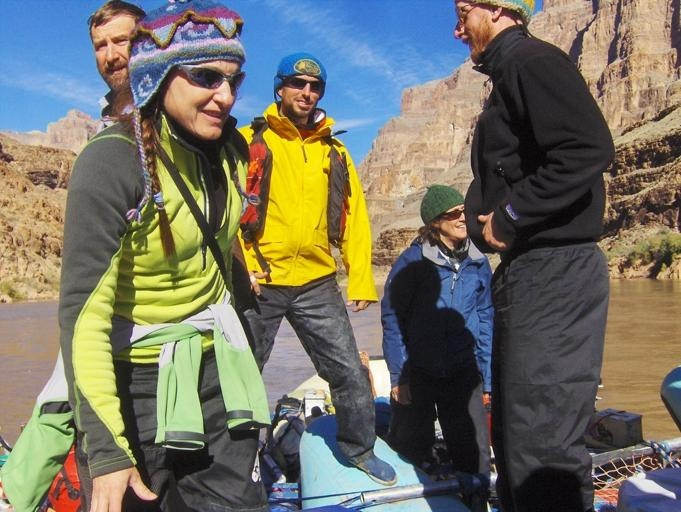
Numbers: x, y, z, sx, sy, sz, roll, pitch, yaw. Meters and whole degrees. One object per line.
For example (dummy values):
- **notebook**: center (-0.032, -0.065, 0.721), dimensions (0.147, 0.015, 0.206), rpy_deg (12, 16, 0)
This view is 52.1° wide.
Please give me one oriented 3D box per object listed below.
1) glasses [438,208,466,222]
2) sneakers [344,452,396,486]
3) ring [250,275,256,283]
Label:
- **glasses**: center (0.804, -0.290, 5.030), dimensions (0.098, 0.035, 0.115), rpy_deg (-18, -2, -18)
- **sneakers**: center (0.175, 1.180, 3.948), dimensions (0.308, 0.117, 0.118), rpy_deg (20, 24, 32)
- **ring**: center (-0.497, 0.129, 3.945), dimensions (0.032, 0.059, 0.034), rpy_deg (-6, -13, -1)
